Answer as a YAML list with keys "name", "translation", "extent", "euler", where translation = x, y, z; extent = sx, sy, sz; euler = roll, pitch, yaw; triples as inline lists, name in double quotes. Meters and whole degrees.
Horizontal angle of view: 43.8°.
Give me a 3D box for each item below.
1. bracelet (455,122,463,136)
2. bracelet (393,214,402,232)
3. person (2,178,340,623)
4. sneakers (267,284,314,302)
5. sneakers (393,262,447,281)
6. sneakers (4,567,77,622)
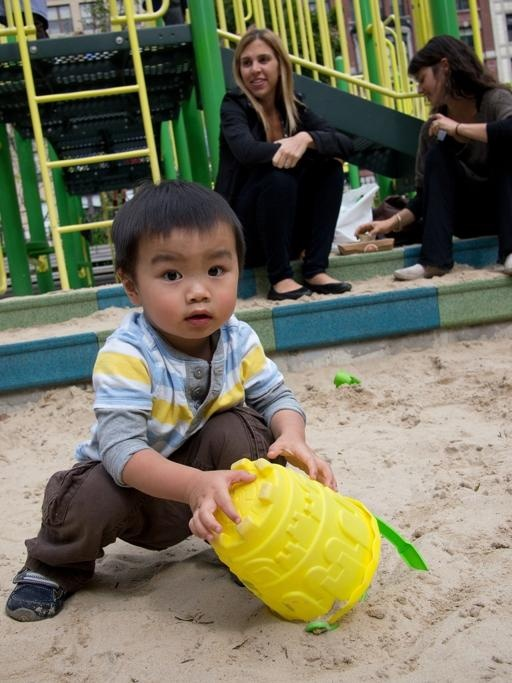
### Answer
- name: "bracelet"
  translation: [0.942, -0.982, 2.947]
  extent: [0.028, 0.046, 0.034]
  euler: [-1, 33, 21]
- name: "bracelet"
  translation: [0.788, -0.661, 3.542]
  extent: [0.048, 0.080, 0.063]
  euler: [5, 11, -13]
- name: "person"
  translation: [-0.191, 0.100, 1.170]
  extent: [0.600, 0.768, 0.496]
  euler: [-6, 11, 21]
- name: "sneakers"
  translation: [0.138, -0.219, 2.896]
  extent: [0.163, 0.055, 0.084]
  euler: [-5, -2, 32]
- name: "sneakers"
  translation: [0.769, -0.326, 3.055]
  extent: [0.268, 0.083, 0.090]
  euler: [1, -2, -14]
- name: "sneakers"
  translation: [-0.413, 0.471, 1.167]
  extent: [0.059, 0.048, 0.116]
  euler: [9, -15, -3]
